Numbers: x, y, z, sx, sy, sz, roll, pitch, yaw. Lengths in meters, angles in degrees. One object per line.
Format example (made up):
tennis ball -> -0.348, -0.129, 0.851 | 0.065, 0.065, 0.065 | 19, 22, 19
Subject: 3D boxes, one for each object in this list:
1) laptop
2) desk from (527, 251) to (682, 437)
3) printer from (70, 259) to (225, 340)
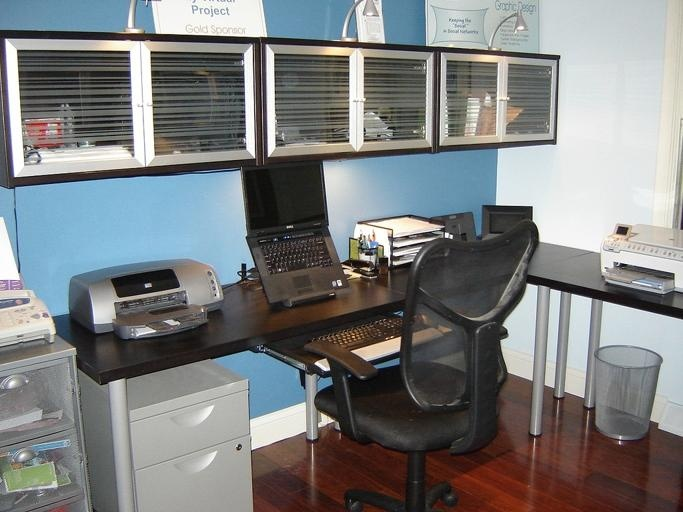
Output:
laptop -> -0.267, -0.115, 2.790 | 0.555, 0.677, 0.478 | -15, 36, -33
desk -> 1.636, 0.552, 3.267 | 0.682, 0.820, 0.884 | -11, 19, -33
printer -> -0.899, 0.170, 2.449 | 0.634, 0.248, 0.401 | -14, 16, -28
